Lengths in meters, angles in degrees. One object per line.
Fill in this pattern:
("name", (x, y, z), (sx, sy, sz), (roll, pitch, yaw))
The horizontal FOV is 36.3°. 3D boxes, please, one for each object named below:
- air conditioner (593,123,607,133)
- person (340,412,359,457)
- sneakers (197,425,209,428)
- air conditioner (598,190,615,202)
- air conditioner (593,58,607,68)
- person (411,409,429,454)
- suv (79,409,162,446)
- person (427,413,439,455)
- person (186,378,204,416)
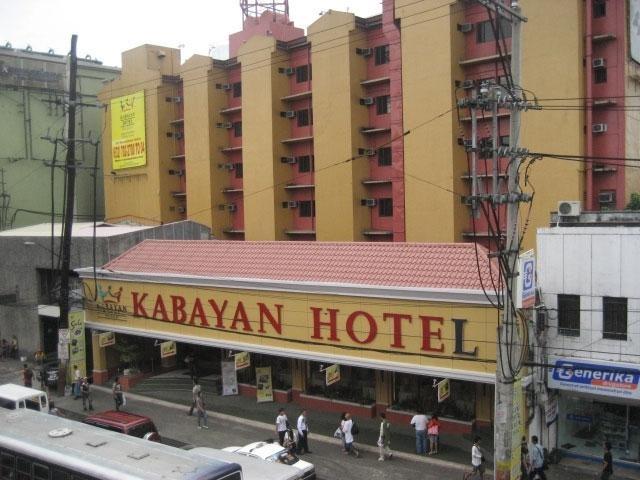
("air conditioner", (16.714, -6.638, 57.806), (0.591, 0.488, 0.883), (-2, 4, -11))
("person", (1.556, 9.863, 50.069), (1.175, 2.105, 0.972), (10, 14, 28))
("sneakers", (-6.405, 10.189, 53.382), (0.540, 0.223, 0.186), (-2, -1, 3))
("air conditioner", (17.265, -2.588, 58.416), (0.922, 0.679, 0.456), (-2, -2, 15))
("air conditioner", (16.669, -10.516, 57.795), (0.860, 0.512, 0.603), (1, -3, -41))
("person", (5.164, 9.892, 49.976), (0.864, 2.040, 0.730), (-1, -2, -4))
("suv", (-9.943, 9.123, 48.980), (2.944, 1.580, 1.849), (8, 7, 30))
("person", (5.828, 9.888, 49.993), (0.502, 2.017, 0.630), (-2, -2, 3))
("person", (-7.184, 9.045, 56.008), (1.111, 2.728, 1.099), (-6, 16, -25))
